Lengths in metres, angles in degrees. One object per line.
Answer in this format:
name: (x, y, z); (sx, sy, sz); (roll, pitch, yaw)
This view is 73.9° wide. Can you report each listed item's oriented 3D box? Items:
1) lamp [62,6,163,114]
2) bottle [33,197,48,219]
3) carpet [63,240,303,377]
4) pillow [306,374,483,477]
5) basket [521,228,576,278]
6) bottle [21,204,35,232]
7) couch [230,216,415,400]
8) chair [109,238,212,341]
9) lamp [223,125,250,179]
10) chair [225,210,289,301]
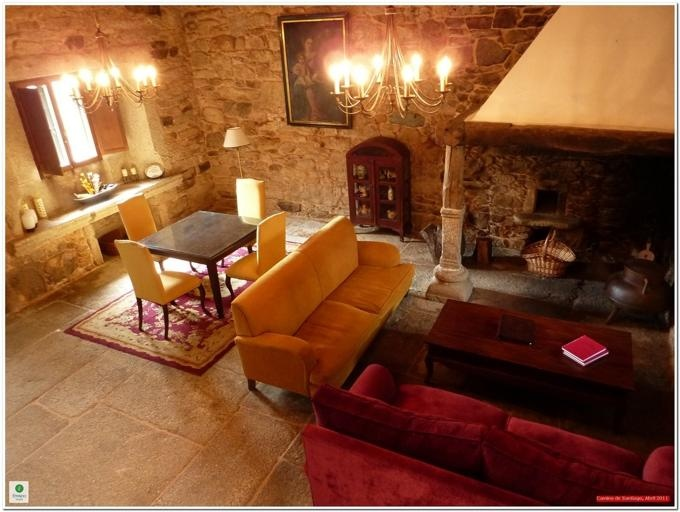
lamp: (-2.826, -2.447, 5.396); (0.988, 1.053, 0.971); (-17, 12, -41)
bottle: (-3.799, -0.621, 5.707); (0.124, 0.266, 0.180); (-15, 26, -29)
carpet: (-1.640, 0.573, 4.736); (1.121, 0.026, 1.511); (9, 23, 18)
pillow: (0.400, 1.103, 2.839); (0.651, 0.385, 0.613); (7, 17, 23)
basket: (2.462, -0.051, 5.373); (0.580, 0.434, 0.637); (3, 18, 24)
bottle: (-3.778, -0.482, 5.477); (0.135, 0.307, 0.313); (-11, 24, -22)
couch: (-0.096, 0.467, 4.399); (0.906, 1.314, 1.706); (11, 24, 28)
chair: (-1.991, 0.392, 5.045); (0.714, 1.145, 0.761); (19, 35, 22)
lamp: (-1.600, -1.588, 7.046); (0.341, 0.845, 0.820); (-6, 22, -11)
chair: (-0.925, -0.011, 4.961); (0.623, 1.038, 0.616); (16, 42, 18)
